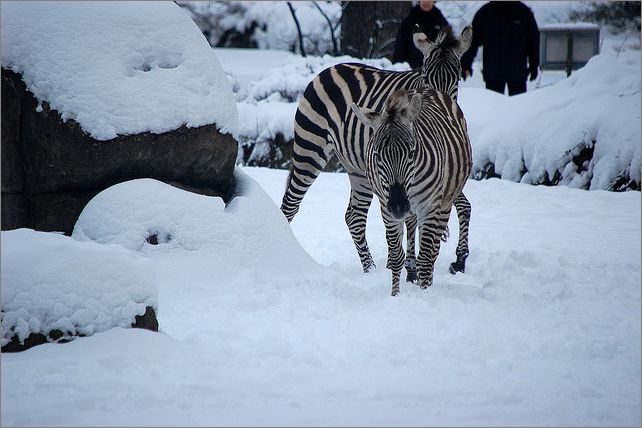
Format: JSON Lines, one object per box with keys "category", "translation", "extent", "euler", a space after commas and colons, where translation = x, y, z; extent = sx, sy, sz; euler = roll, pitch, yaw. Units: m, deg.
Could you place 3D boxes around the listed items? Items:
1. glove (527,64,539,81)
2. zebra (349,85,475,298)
{"category": "glove", "translation": [3.438, -2.268, 19.176], "extent": [0.175, 0.378, 0.632], "euler": [0, -3, 8]}
{"category": "zebra", "translation": [1.168, -0.281, 14.817], "extent": [0.776, 2.548, 1.685], "euler": [5, 9, 33]}
